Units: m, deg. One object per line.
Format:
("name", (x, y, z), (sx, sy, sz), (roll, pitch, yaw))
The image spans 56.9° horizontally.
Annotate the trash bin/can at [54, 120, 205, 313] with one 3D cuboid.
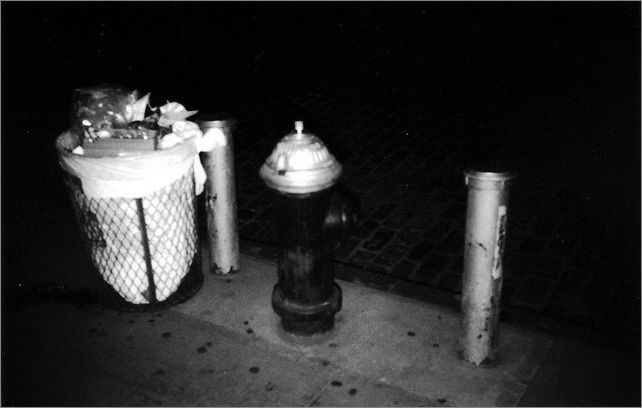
("trash bin/can", (-1.720, 0.114, 5.391), (1.248, 1.607, 1.370), (10, 23, 22))
